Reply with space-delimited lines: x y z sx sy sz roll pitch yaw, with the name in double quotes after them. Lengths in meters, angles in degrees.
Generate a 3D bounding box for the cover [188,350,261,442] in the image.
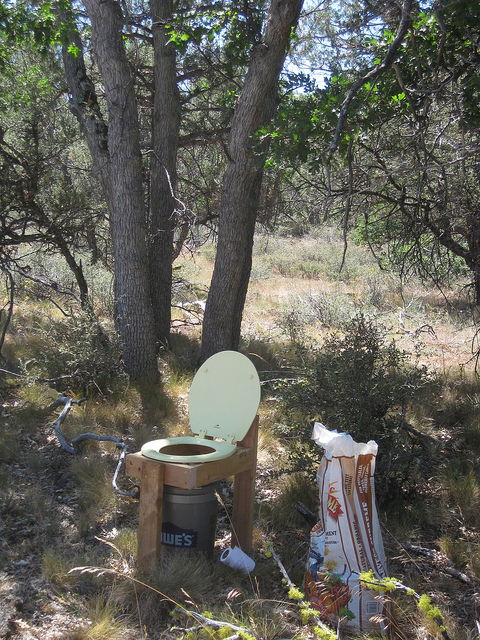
-0.041 0.469 3.557 0.456 0.525 0.155 20 3 37 "cover"

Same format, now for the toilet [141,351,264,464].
-0.245 0.541 3.298 0.513 0.678 0.723 4 4 34 "toilet"

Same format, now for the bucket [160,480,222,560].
-0.293 1.102 3.240 0.358 0.396 0.362 0 -1 0 "bucket"

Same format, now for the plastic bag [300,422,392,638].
0.540 1.043 2.858 0.492 0.894 0.493 7 6 19 "plastic bag"
